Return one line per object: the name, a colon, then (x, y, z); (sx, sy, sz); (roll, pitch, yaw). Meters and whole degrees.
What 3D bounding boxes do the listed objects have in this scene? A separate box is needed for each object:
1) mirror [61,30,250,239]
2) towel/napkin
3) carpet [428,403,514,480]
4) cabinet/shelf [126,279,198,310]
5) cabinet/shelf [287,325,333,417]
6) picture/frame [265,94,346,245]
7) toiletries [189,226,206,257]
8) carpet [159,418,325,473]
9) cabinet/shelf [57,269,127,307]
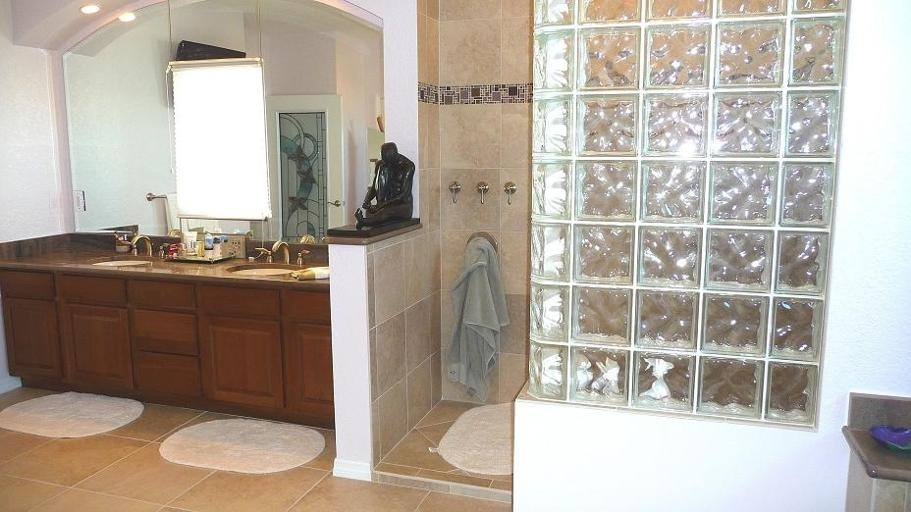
mirror: (-2.941, -1.086, 5.574); (0.974, 1.775, 0.193); (1, 12, 8)
towel/napkin: (0.201, 0.475, 5.018); (0.410, 1.292, 0.407); (7, 14, 32)
carpet: (0.109, 1.361, 4.565); (0.621, 0.012, 0.860); (0, 3, 11)
cabinet/shelf: (-2.299, 0.302, 4.914); (0.519, 0.173, 0.254); (1, 0, 9)
cabinet/shelf: (-1.083, 0.830, 4.654); (0.391, 0.682, 0.095); (3, 13, 19)
picture/frame: (-1.213, -0.728, 5.158); (0.672, 1.157, 0.136); (2, 12, 15)
toiletries: (-2.193, -0.124, 5.381); (0.115, 0.217, 0.357); (-5, 11, -21)
carpet: (-1.547, 1.380, 4.614); (1.194, 0.133, 0.584); (1, 9, 12)
cabinet/shelf: (-2.951, 0.271, 5.175); (0.509, 0.170, 0.315); (3, 5, 11)
